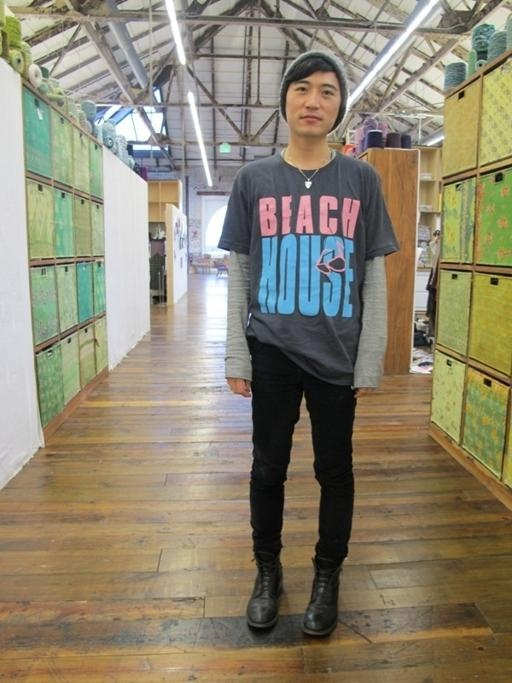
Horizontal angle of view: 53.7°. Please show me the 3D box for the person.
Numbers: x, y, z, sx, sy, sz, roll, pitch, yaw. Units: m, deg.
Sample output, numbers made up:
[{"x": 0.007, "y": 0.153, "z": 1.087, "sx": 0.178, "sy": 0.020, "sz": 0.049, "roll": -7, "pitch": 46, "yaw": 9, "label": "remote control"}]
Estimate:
[{"x": 0.133, "y": 0.036, "z": 1.328, "sx": 0.454, "sy": 1.466, "sz": 0.265, "roll": -1, "pitch": 8, "yaw": -5, "label": "person"}]

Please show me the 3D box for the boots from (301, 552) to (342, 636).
[{"x": 0.186, "y": 0.685, "z": 1.384, "sx": 0.070, "sy": 0.097, "sz": 0.223, "roll": 0, "pitch": -1, "yaw": 12, "label": "boots"}]

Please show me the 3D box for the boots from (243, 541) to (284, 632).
[{"x": 0.029, "y": 0.682, "z": 1.371, "sx": 0.069, "sy": 0.095, "sz": 0.207, "roll": -2, "pitch": -1, "yaw": 8, "label": "boots"}]

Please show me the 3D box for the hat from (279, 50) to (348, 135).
[{"x": 0.148, "y": -0.583, "z": 1.270, "sx": 0.159, "sy": 0.207, "sz": 0.094, "roll": 7, "pitch": 6, "yaw": 5, "label": "hat"}]
